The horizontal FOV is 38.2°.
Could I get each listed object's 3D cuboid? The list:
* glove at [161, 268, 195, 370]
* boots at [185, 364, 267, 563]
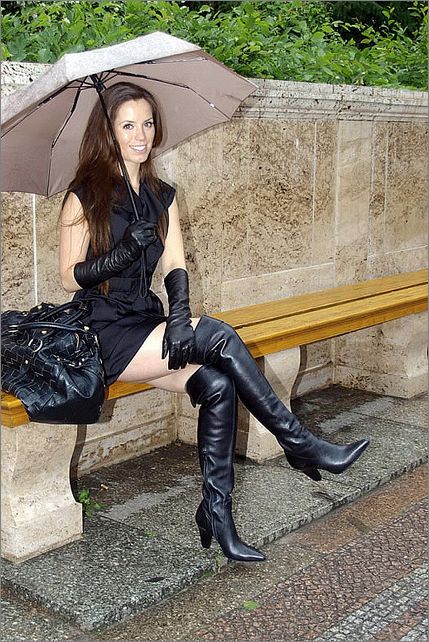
[{"bbox_3d":[-0.152,-0.020,2.292,0.130,0.116,0.355,-5,57,3],"label":"glove"},{"bbox_3d":[0.022,0.517,2.233,0.165,0.698,0.317,-5,11,-38],"label":"boots"}]
